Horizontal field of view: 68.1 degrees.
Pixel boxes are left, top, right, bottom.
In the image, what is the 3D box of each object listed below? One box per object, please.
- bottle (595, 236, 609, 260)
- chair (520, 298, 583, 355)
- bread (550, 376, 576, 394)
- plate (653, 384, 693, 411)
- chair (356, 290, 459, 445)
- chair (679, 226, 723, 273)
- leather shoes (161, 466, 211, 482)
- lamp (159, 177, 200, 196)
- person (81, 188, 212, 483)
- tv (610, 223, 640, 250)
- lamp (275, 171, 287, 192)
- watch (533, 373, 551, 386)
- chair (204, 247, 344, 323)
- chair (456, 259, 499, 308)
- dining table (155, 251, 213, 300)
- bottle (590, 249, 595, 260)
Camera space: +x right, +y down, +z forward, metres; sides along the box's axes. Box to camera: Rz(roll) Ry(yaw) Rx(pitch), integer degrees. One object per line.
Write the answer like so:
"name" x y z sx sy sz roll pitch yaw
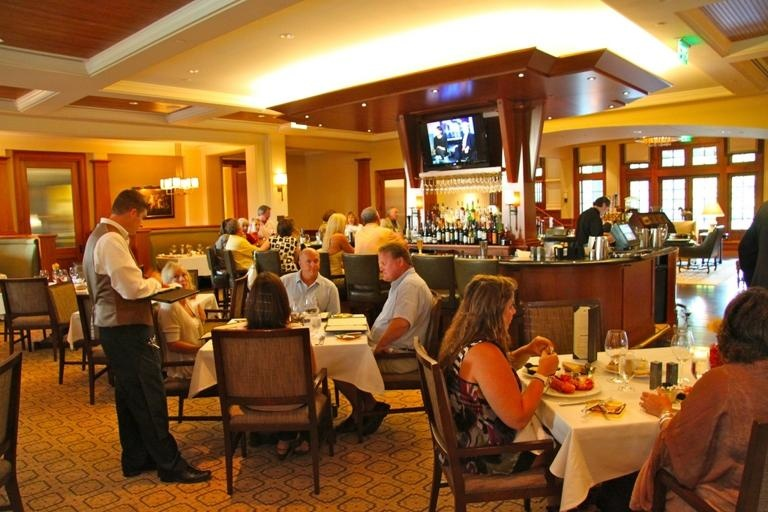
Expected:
"bottle" 2.516 -0.098 6.571 0.132 0.247 0.274 -2 5 20
"chair" 1.311 0.487 4.718 0.676 0.608 0.382 -1 -1 11
"bread" 1.161 0.826 3.686 0.106 0.033 0.104 -7 11 -40
"plate" 1.831 0.860 3.546 0.196 0.064 0.188 -3 0 -7
"chair" 0.278 0.912 5.713 1.170 1.770 1.009 1 -2 -3
"chair" 7.081 -0.149 12.724 0.680 0.741 1.232 0 0 36
"leather shoes" -1.554 1.728 4.553 0.404 0.154 0.141 -1 -3 -5
"lamp" -4.629 -1.642 12.919 0.703 0.254 0.608 -3 7 -18
"person" -1.922 0.634 4.459 0.733 2.316 0.369 -5 5 -13
"tv" 3.294 -0.260 7.919 0.340 0.514 0.607 2 4 42
"lamp" -2.354 -1.698 12.906 0.269 0.434 0.157 -6 6 -29
"watch" 0.992 0.772 3.576 0.082 0.048 0.081 23 -1 -29
"chair" -0.948 0.296 5.551 0.792 1.077 0.935 2 5 22
"chair" 0.967 0.265 6.167 0.515 0.563 0.452 -3 6 -39
"dining table" -2.632 0.209 7.593 0.878 0.627 0.875 -1 -2 -2
"bottle" 2.408 -0.026 6.565 0.067 0.111 0.175 -2 4 21
